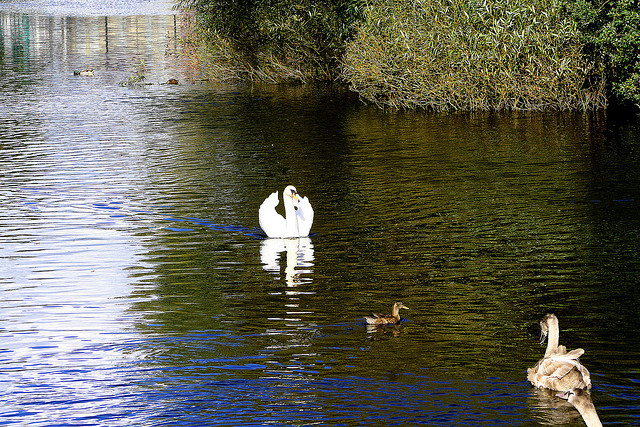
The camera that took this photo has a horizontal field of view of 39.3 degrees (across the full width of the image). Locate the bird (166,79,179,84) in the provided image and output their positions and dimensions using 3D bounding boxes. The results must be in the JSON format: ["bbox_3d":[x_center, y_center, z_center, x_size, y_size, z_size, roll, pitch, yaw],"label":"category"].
[{"bbox_3d":[-8.689,-7.743,52.834,0.561,0.280,1.148,-2,5,-6],"label":"bird"}]

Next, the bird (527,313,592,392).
[{"bbox_3d":[3.940,2.236,14.595,1.198,1.078,2.010,-9,-3,2],"label":"bird"}]

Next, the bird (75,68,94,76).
[{"bbox_3d":[-14.846,-8.849,56.457,1.149,0.433,1.095,-2,5,-12],"label":"bird"}]

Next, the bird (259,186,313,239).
[{"bbox_3d":[-0.840,0.011,22.190,1.315,1.196,0.614,-2,7,-2],"label":"bird"}]

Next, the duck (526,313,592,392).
[{"bbox_3d":[3.830,2.236,14.245,0.703,1.152,1.029,-4,7,-14],"label":"duck"}]

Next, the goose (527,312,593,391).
[{"bbox_3d":[3.993,2.335,14.924,1.374,1.120,2.326,-1,-5,4],"label":"goose"}]

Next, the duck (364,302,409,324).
[{"bbox_3d":[1.226,1.870,16.870,0.781,0.384,0.409,-2,6,-12],"label":"duck"}]
